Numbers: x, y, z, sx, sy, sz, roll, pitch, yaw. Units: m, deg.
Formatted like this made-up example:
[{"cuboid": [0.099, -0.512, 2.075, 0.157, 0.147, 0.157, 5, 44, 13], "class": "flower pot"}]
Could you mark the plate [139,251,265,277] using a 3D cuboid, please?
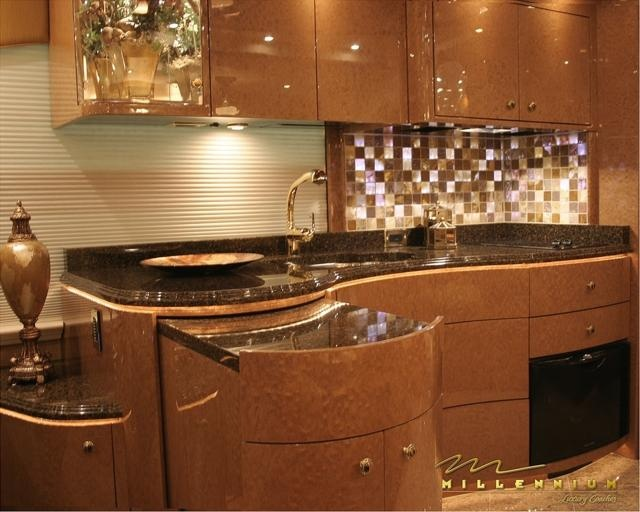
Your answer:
[{"cuboid": [-0.557, 0.014, 3.090, 0.537, 0.081, 0.639, -7, 8, -15], "class": "plate"}]

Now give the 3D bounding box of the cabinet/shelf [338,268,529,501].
[{"cuboid": [0.472, 0.485, 2.744, 0.952, 1.000, 0.315, -6, 6, -30], "class": "cabinet/shelf"}]

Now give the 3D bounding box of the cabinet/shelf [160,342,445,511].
[{"cuboid": [-0.122, 0.445, 2.259, 0.746, 0.600, 0.585, 2, 4, 45], "class": "cabinet/shelf"}]
